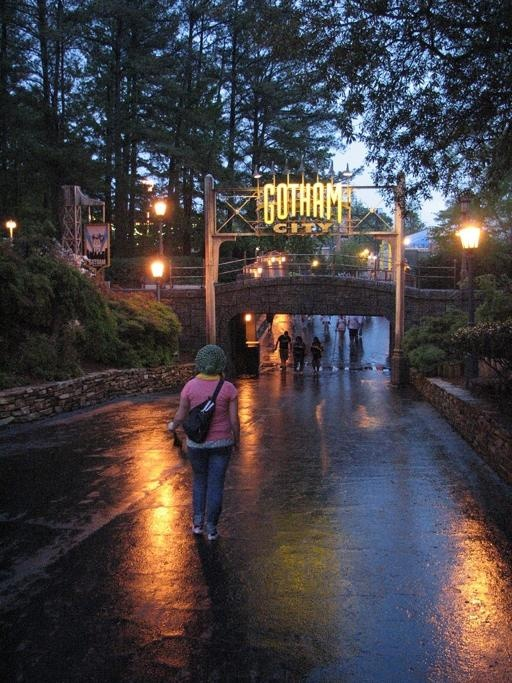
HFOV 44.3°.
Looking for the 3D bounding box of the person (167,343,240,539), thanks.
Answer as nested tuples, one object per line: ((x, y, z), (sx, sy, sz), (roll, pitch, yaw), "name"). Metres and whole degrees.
((-0.476, 0.965, 5.868), (0.634, 1.859, 0.763), (0, 6, -8), "person")

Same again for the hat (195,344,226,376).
((-0.428, 0.163, 5.822), (0.226, 0.292, 0.289), (0, 6, -9), "hat")

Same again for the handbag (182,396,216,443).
((-0.515, 0.700, 5.600), (0.223, 0.419, 0.332), (3, 12, -18), "handbag")
